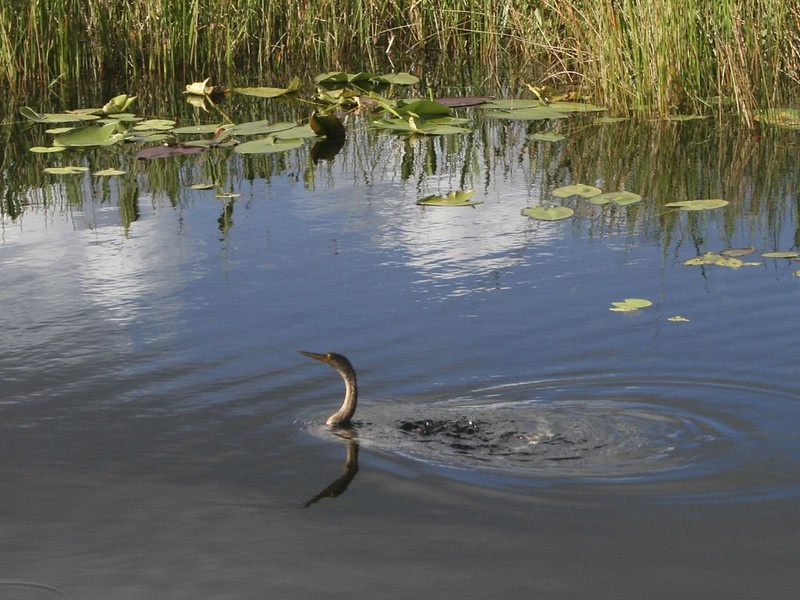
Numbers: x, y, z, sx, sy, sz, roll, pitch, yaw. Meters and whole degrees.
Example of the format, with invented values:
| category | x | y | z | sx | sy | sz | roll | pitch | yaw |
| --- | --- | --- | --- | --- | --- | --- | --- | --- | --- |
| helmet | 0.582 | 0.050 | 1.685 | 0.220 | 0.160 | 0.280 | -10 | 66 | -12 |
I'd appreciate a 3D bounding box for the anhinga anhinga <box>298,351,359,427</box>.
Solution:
| category | x | y | z | sx | sy | sz | roll | pitch | yaw |
| --- | --- | --- | --- | --- | --- | --- | --- | --- | --- |
| anhinga anhinga | -0.357 | 0.474 | 6.148 | 0.268 | 0.391 | 0.320 | -4 | 12 | -3 |
